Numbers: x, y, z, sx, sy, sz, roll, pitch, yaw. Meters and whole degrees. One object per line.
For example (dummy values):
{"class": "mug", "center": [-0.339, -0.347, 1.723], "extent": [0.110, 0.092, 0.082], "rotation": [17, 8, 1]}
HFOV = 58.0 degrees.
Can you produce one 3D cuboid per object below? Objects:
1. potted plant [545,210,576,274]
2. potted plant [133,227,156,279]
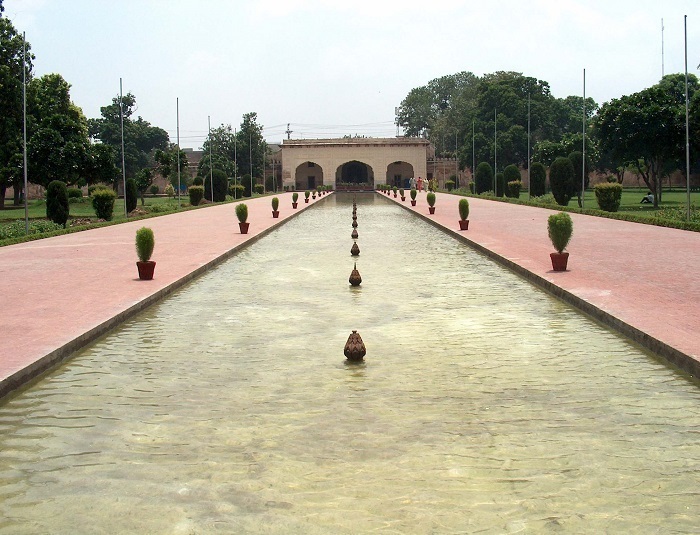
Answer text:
{"class": "potted plant", "center": [3.601, -0.434, 10.855], "extent": [0.364, 0.986, 0.655], "rotation": [1, 7, 17]}
{"class": "potted plant", "center": [-3.443, -0.237, 10.637], "extent": [0.286, 0.847, 0.790], "rotation": [-3, 7, -19]}
